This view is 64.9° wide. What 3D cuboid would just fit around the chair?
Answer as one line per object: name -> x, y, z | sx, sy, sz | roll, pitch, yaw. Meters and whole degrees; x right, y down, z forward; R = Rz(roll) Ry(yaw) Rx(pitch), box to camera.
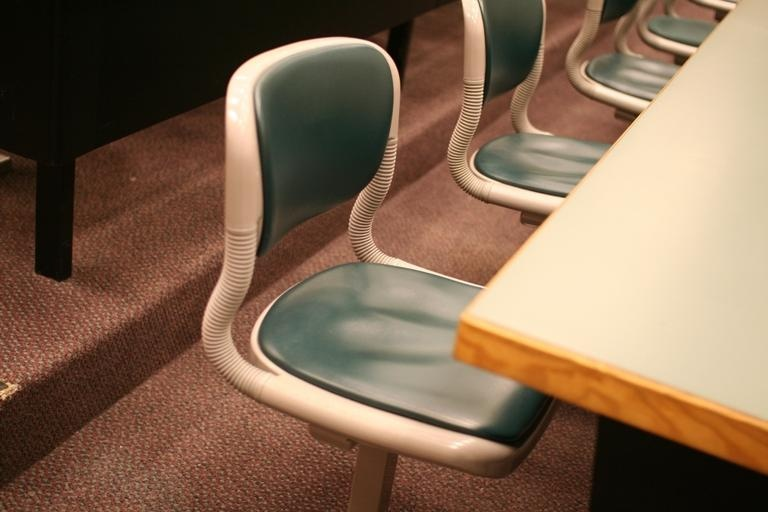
chair -> 0.270, -0.130, 1.595 | 0.844, 1.615, 0.936 | 14, 36, 19
